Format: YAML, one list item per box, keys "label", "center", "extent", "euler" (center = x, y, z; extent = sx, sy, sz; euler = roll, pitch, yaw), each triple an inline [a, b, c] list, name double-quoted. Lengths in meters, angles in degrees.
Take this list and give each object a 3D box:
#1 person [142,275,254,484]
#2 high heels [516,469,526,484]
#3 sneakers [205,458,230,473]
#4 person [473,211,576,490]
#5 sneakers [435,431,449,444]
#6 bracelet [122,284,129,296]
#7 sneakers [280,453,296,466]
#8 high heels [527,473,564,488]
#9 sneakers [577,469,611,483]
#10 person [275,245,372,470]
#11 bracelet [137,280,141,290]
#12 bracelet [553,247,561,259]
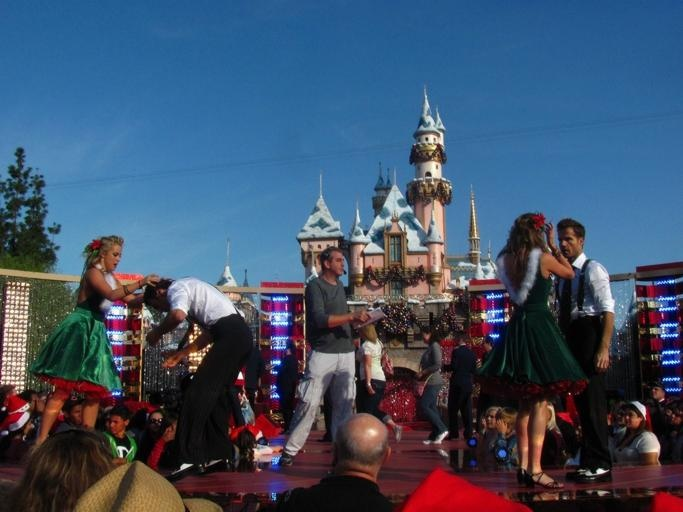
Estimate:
- label: "person"
  center: [-1.408, 1.161, 7.767]
  extent: [1.028, 1.899, 0.726]
  euler: [1, -6, -9]
- label: "high heels"
  center: [1.583, 1.945, 6.856]
  extent: [0.067, 0.137, 0.173]
  euler: [0, -6, -5]
- label: "sneakers"
  center: [-1.221, 2.063, 7.666]
  extent: [0.106, 0.100, 0.175]
  euler: [8, -6, -17]
- label: "person"
  center: [1.736, 0.815, 7.115]
  extent: [0.915, 2.449, 0.544]
  euler: [-2, -6, 17]
- label: "sneakers"
  center: [1.557, 2.843, 12.202]
  extent: [0.118, 0.301, 0.088]
  euler: [10, 27, -14]
- label: "bracelet"
  center: [-2.332, 0.372, 8.364]
  extent: [0.029, 0.093, 0.088]
  euler: [-3, -20, 8]
- label: "sneakers"
  center: [-0.594, 2.187, 8.330]
  extent: [0.071, 0.169, 0.212]
  euler: [2, 2, -39]
- label: "high heels"
  center: [1.763, 1.955, 6.789]
  extent: [0.217, 0.107, 0.146]
  euler: [-3, -5, 11]
- label: "sneakers"
  center: [2.295, 1.983, 7.090]
  extent: [0.308, 0.150, 0.123]
  euler: [5, -19, -5]
- label: "person"
  center: [-0.189, 1.081, 8.658]
  extent: [0.783, 2.409, 0.792]
  euler: [-2, 7, -22]
- label: "bracelet"
  center: [-2.203, 0.299, 8.439]
  extent: [0.018, 0.077, 0.072]
  euler: [4, 18, 15]
- label: "bracelet"
  center: [1.912, -0.019, 6.937]
  extent: [0.055, 0.045, 0.079]
  euler: [13, -34, 52]
